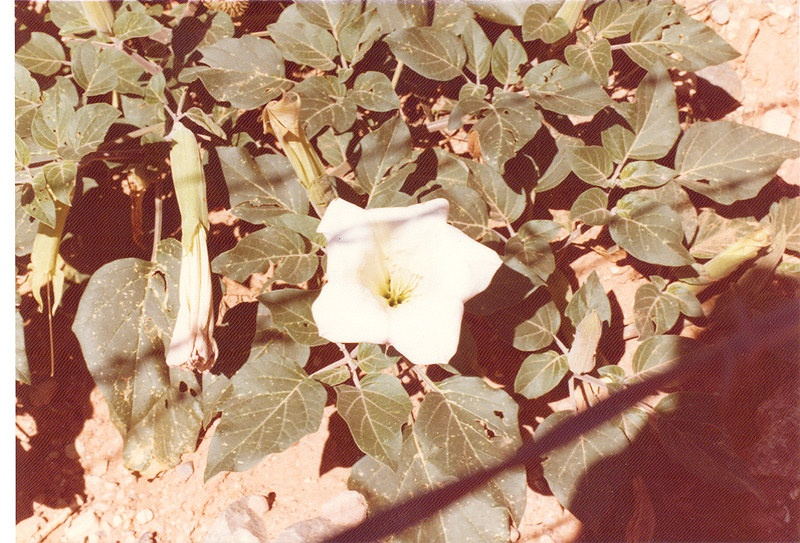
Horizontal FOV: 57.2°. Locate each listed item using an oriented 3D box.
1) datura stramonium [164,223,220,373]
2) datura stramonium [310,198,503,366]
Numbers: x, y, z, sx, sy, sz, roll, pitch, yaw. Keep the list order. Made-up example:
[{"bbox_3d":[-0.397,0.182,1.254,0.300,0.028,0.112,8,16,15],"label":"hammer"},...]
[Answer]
[{"bbox_3d":[-0.417,0.068,1.479,0.092,0.331,0.167,0,19,-15],"label":"datura stramonium"},{"bbox_3d":[-0.007,0.028,1.421,0.355,0.145,0.377,22,51,7],"label":"datura stramonium"}]
